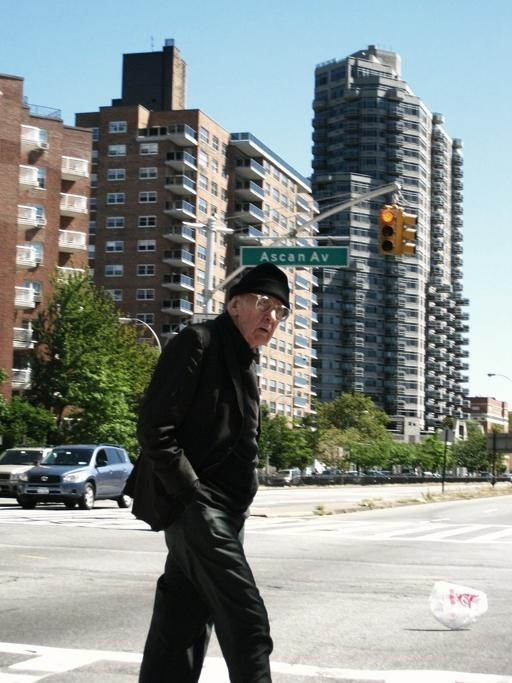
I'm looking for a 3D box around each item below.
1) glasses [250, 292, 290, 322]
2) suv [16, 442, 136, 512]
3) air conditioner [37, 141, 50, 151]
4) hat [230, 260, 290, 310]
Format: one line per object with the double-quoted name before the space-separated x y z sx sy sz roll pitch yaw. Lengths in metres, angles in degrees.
"glasses" 0.059 -0.153 4.545 0.124 0.037 0.124 23 1 -42
"suv" -3.860 2.943 22.800 1.725 1.488 3.178 -8 -6 20
"air conditioner" -12.270 -11.345 62.024 0.988 0.434 0.559 3 9 0
"hat" 0.033 -0.247 4.611 0.182 0.138 0.248 26 -25 -35
